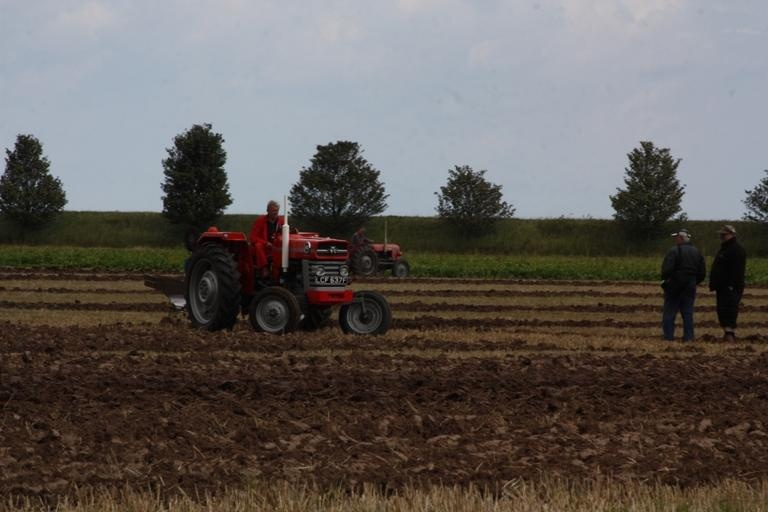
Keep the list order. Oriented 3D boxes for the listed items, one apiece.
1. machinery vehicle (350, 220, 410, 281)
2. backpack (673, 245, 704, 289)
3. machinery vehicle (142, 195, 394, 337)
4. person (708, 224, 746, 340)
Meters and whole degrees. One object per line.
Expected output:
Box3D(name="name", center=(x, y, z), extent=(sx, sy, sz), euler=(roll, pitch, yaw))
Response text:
Box3D(name="machinery vehicle", center=(-0.351, -0.081, 30.030), extent=(2.181, 1.482, 1.249), euler=(1, 6, -38))
Box3D(name="backpack", center=(5.500, 0.251, 18.033), extent=(0.768, 0.906, 0.482), euler=(1, -2, -12))
Box3D(name="machinery vehicle", center=(-2.237, 0.402, 17.577), extent=(4.199, 1.975, 1.963), euler=(-2, -1, 36))
Box3D(name="person", center=(6.420, 0.511, 18.344), extent=(0.586, 1.674, 1.361), euler=(2, 1, 19))
